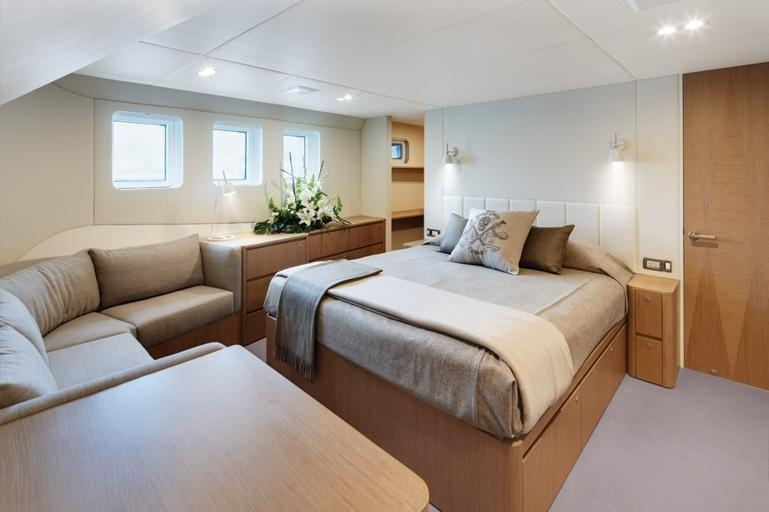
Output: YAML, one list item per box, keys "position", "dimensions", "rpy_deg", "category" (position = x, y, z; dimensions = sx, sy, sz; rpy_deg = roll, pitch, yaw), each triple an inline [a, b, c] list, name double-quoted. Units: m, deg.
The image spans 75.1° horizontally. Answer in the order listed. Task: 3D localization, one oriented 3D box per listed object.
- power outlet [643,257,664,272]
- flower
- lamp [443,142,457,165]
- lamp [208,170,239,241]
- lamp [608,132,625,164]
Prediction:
- position: [2.288, 0.068, 4.306]
  dimensions: [0.015, 0.091, 0.108]
  rpy_deg: [-8, 11, -43]
  category: "power outlet"
- position: [-0.959, -0.689, 5.689]
  dimensions: [0.803, 0.617, 0.830]
  rpy_deg: [6, 7, 37]
  category: "flower"
- position: [0.684, -1.112, 5.430]
  dimensions: [0.174, 0.227, 0.167]
  rpy_deg: [6, 13, 29]
  category: "lamp"
- position: [-1.692, -0.546, 5.201]
  dimensions: [0.282, 0.668, 0.615]
  rpy_deg: [-3, 12, -15]
  category: "lamp"
- position: [1.986, -0.954, 4.349]
  dimensions: [0.132, 0.239, 0.154]
  rpy_deg: [5, 12, 25]
  category: "lamp"
